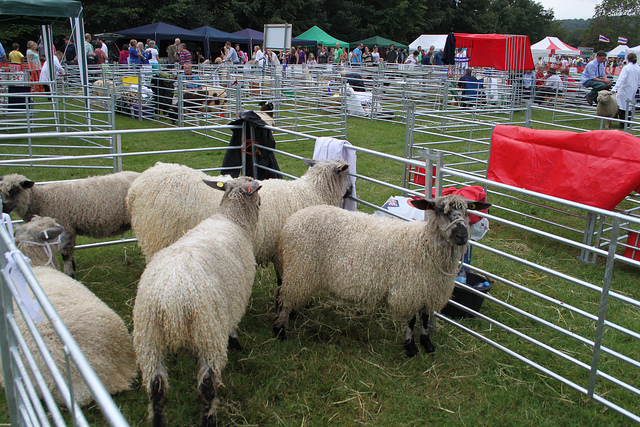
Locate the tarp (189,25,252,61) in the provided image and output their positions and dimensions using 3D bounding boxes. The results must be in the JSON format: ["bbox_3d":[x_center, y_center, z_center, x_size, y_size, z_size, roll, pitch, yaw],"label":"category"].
[{"bbox_3d":[-6.233,-10.900,29.052,2.864,2.021,2.819,-8,16,-30],"label":"tarp"}]

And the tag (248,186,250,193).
[{"bbox_3d":[-0.798,-0.276,5.356,0.038,0.055,0.015,-1,-7,19],"label":"tag"}]

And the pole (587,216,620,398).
[{"bbox_3d":[2.810,0.926,4.706,0.176,1.846,0.418,13,18,31],"label":"pole"}]

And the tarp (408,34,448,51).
[{"bbox_3d":[7.496,-11.987,33.308,2.101,1.274,2.380,-2,16,-19],"label":"tarp"}]

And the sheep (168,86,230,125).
[{"bbox_3d":[-3.448,-3.235,14.421,1.526,1.051,0.877,-3,12,-8],"label":"sheep"}]

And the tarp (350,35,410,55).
[{"bbox_3d":[4.533,-12.786,35.454,4.187,1.041,3.657,5,15,5],"label":"tarp"}]

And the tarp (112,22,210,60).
[{"bbox_3d":[-8.215,-10.162,27.338,3.435,1.338,3.590,8,11,36],"label":"tarp"}]

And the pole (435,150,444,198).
[{"bbox_3d":[1.411,-0.467,5.609,0.105,0.523,0.304,7,16,13],"label":"pole"}]

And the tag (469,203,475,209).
[{"bbox_3d":[1.677,-0.083,5.229,0.075,0.071,0.028,-7,19,-34],"label":"tag"}]

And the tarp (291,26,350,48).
[{"bbox_3d":[0.047,-11.318,30.237,2.482,0.989,2.462,-6,18,-19],"label":"tarp"}]

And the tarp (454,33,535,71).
[{"bbox_3d":[6.972,-6.330,18.581,2.033,1.116,2.018,-3,19,-16],"label":"tarp"}]

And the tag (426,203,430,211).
[{"bbox_3d":[1.190,-0.084,5.234,0.029,0.068,0.020,12,18,28],"label":"tag"}]

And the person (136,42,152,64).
[{"bbox_3d":[-6.767,-6.146,18.345,0.513,0.758,1.154,-3,17,-21],"label":"person"}]

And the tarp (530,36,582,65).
[{"bbox_3d":[16.931,-11.835,34.562,2.652,2.087,3.797,10,17,22],"label":"tarp"}]

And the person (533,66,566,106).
[{"bbox_3d":[9.467,-5.227,19.542,1.005,1.534,2.513,10,17,21],"label":"person"}]

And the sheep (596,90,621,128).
[{"bbox_3d":[8.853,-3.179,14.553,1.496,1.082,0.573,-9,15,-38],"label":"sheep"}]

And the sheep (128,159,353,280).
[{"bbox_3d":[-0.920,0.187,6.781,3.542,1.898,1.139,-3,11,-35],"label":"sheep"}]

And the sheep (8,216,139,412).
[{"bbox_3d":[-2.443,0.983,4.689,0.877,1.204,2.026,-10,35,-30],"label":"sheep"}]

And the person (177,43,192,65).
[{"bbox_3d":[-5.348,-6.252,18.689,0.502,0.762,1.229,-2,16,-17],"label":"person"}]

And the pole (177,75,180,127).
[{"bbox_3d":[-4.223,-3.260,14.150,0.042,1.337,0.641,-2,17,-19],"label":"pole"}]
